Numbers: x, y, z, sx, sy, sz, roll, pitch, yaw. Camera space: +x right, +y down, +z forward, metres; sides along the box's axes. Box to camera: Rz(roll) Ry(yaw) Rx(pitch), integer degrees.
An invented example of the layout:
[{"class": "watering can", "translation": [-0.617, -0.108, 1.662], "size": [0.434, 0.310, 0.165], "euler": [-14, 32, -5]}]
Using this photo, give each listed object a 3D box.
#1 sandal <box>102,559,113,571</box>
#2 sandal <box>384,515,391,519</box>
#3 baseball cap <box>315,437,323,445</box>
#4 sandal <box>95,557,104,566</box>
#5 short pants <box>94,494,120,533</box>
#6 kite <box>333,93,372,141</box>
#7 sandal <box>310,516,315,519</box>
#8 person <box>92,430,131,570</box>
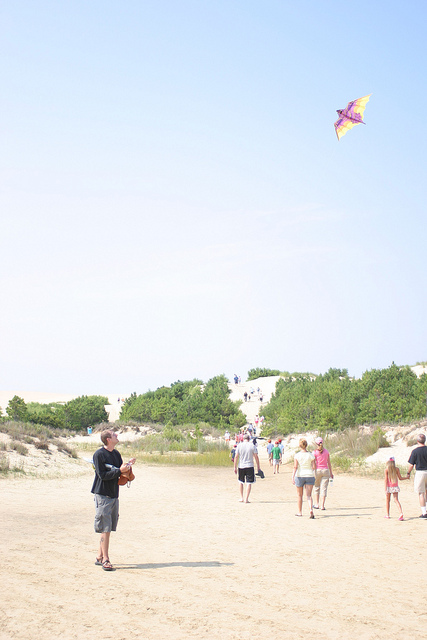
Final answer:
[{"class": "sandal", "translation": [-1.538, 3.512, 13.132], "size": [0.160, 0.157, 0.158], "euler": [0, -10, 2]}, {"class": "sandal", "translation": [3.595, 4.078, 18.986], "size": [0.109, 0.040, 0.117], "euler": [-1, -1, 33]}, {"class": "baseball cap", "translation": [2.227, 2.571, 19.413], "size": [0.141, 0.096, 0.211], "euler": [0, 20, 7]}, {"class": "sandal", "translation": [-1.676, 3.524, 13.344], "size": [0.086, 0.117, 0.366], "euler": [3, -11, -16]}, {"class": "short pants", "translation": [-1.533, 2.758, 13.068], "size": [0.390, 0.532, 0.264], "euler": [5, -10, -24]}, {"class": "kite", "translation": [3.835, -5.712, 25.794], "size": [0.459, 0.702, 1.430], "euler": [3, -11, -14]}, {"class": "sandal", "translation": [2.014, 4.047, 18.781], "size": [0.087, 0.051, 0.144], "euler": [1, -11, -3]}, {"class": "person", "translation": [-1.532, 2.590, 13.297], "size": [0.475, 2.001, 0.867], "euler": [1, -9, -7]}]
